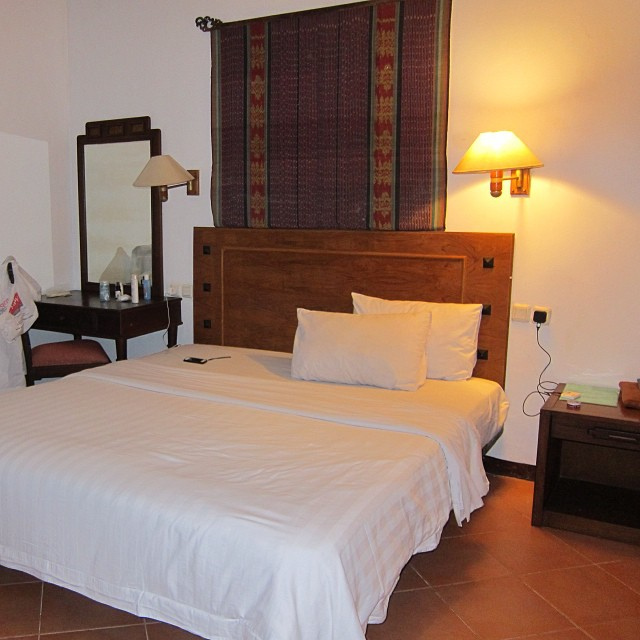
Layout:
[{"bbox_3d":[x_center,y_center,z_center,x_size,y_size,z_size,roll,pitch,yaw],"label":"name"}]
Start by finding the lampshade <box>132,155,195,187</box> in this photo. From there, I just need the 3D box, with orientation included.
[{"bbox_3d":[-0.957,-0.863,3.475,0.255,0.099,0.249,-8,12,-38],"label":"lampshade"}]

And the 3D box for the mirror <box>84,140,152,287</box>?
[{"bbox_3d":[-1.381,-0.772,4.035,0.579,1.006,0.122,3,8,18],"label":"mirror"}]

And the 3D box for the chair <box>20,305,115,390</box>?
[{"bbox_3d":[-1.476,0.153,3.400,0.414,0.544,0.329,-8,27,-28],"label":"chair"}]

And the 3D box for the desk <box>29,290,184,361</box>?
[{"bbox_3d":[-1.489,0.096,3.961,0.990,0.449,0.599,6,13,30],"label":"desk"}]

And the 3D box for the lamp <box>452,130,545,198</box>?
[{"bbox_3d":[0.884,-0.755,2.891,0.440,0.354,0.440,-14,19,-27],"label":"lamp"}]

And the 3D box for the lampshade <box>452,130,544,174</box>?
[{"bbox_3d":[0.840,-0.801,2.753,0.386,0.204,0.173,3,11,7],"label":"lampshade"}]

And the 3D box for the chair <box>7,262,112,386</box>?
[{"bbox_3d":[-1.562,0.036,3.548,0.449,0.754,0.436,5,8,31],"label":"chair"}]

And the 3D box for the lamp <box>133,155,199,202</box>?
[{"bbox_3d":[-0.935,-0.867,3.625,0.366,0.267,0.350,4,14,14],"label":"lamp"}]
